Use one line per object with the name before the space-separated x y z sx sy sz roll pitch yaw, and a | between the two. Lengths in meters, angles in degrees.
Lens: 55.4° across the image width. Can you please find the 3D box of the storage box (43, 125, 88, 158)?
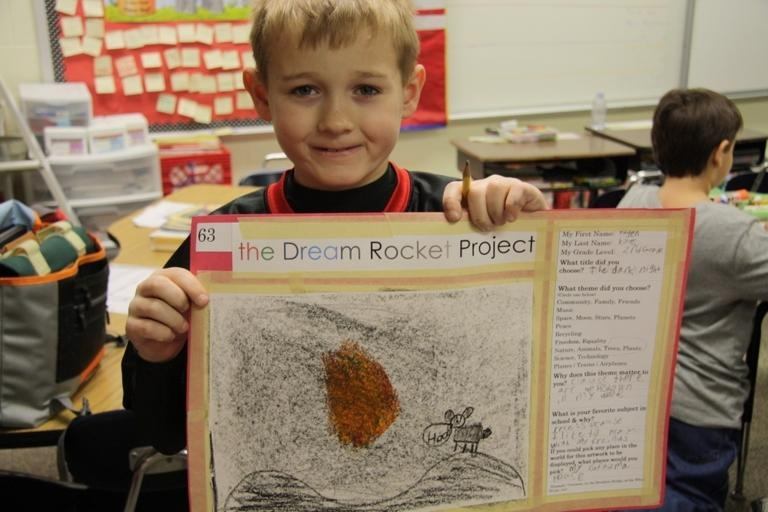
storage box | -1.632 -0.592 3.784 0.244 0.186 0.142 0 12 -7

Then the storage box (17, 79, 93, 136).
storage box | -1.746 -0.806 3.991 0.327 0.233 0.346 -5 24 -14

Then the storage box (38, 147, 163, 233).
storage box | -1.488 -0.477 3.938 0.501 0.508 0.409 -12 20 -27
